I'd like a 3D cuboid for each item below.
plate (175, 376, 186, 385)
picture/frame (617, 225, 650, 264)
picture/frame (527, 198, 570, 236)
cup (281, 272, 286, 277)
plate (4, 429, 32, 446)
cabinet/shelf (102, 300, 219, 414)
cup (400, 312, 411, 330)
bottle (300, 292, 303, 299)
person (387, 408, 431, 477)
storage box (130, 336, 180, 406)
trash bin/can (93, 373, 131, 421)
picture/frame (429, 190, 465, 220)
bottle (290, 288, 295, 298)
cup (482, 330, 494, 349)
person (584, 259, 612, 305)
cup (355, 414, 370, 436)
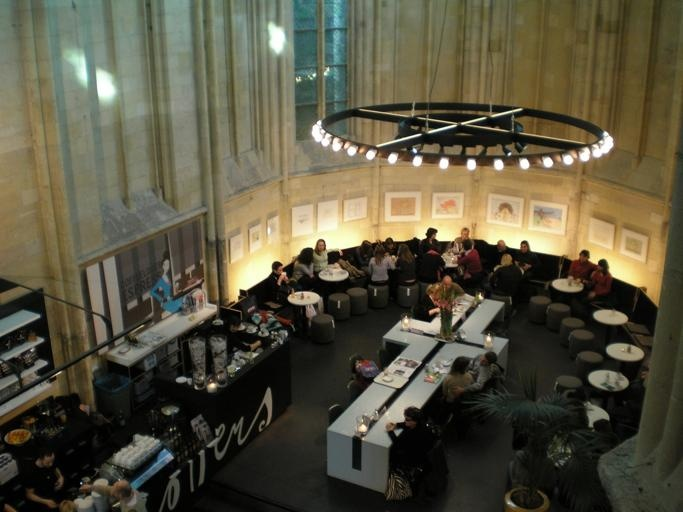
[{"bbox_3d":[-2.511,1.942,8.073,0.170,0.058,0.162,-2,17,-16],"label":"plate"},{"bbox_3d":[6.931,-0.277,12.263,0.041,0.676,0.783,-11,19,-20],"label":"picture/frame"},{"bbox_3d":[5.651,-1.068,14.092,0.939,0.839,0.063,11,20,33],"label":"picture/frame"},{"bbox_3d":[-1.420,0.454,12.347,0.104,0.078,0.106,0,3,0],"label":"cup"},{"bbox_3d":[-4.639,2.613,7.411,0.342,0.124,0.248,-6,19,-28],"label":"plate"},{"bbox_3d":[-3.228,1.814,8.954,0.486,0.970,1.832,13,34,20],"label":"cabinet/shelf"},{"bbox_3d":[1.272,1.330,10.491,0.255,0.412,0.257,2,11,0],"label":"cup"},{"bbox_3d":[-0.935,0.937,11.843,0.092,0.177,0.093,2,10,0],"label":"bottle"},{"bbox_3d":[0.956,2.725,7.406,0.560,0.993,0.385,27,52,24],"label":"person"},{"bbox_3d":[-3.348,2.049,9.118,0.289,0.635,1.052,7,28,14],"label":"storage box"},{"bbox_3d":[-4.028,2.497,9.064,0.609,0.748,0.459,10,19,24],"label":"trash bin/can"},{"bbox_3d":[3.054,-1.540,15.204,0.805,0.690,0.068,0,11,-3],"label":"picture/frame"},{"bbox_3d":[-1.178,0.902,12.130,0.051,0.183,0.179,6,29,19],"label":"bottle"},{"bbox_3d":[2.770,1.631,9.845,0.223,0.381,0.226,0,6,0],"label":"cup"},{"bbox_3d":[6.028,0.576,12.236,0.546,0.949,0.589,-6,21,-19],"label":"person"},{"bbox_3d":[0.308,2.497,7.674,0.201,0.254,0.249,7,18,13],"label":"cup"}]
